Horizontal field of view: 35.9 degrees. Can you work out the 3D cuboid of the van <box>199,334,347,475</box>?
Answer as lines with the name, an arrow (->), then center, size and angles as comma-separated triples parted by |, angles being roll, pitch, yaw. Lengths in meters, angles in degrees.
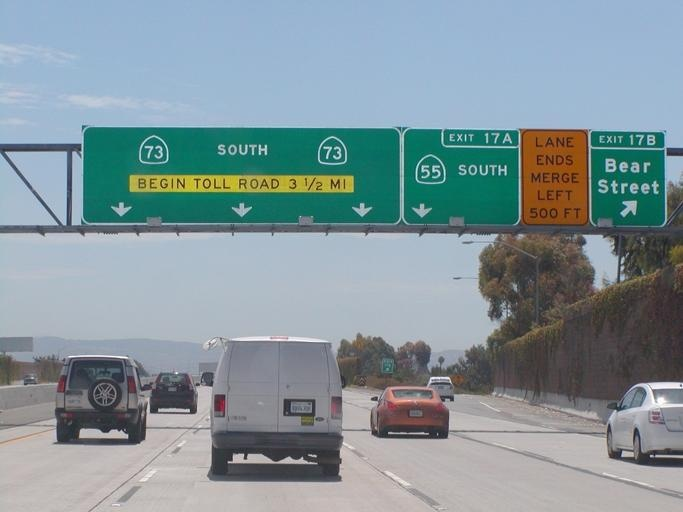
van -> -1.572, 3.663, 24.932 | 3.014, 4.244, 6.999 | 2, -9, -5

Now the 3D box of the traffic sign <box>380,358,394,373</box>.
traffic sign -> 5.492, 13.111, 124.341 | 1.560, 1.853, 0.433 | 1, 6, -1
